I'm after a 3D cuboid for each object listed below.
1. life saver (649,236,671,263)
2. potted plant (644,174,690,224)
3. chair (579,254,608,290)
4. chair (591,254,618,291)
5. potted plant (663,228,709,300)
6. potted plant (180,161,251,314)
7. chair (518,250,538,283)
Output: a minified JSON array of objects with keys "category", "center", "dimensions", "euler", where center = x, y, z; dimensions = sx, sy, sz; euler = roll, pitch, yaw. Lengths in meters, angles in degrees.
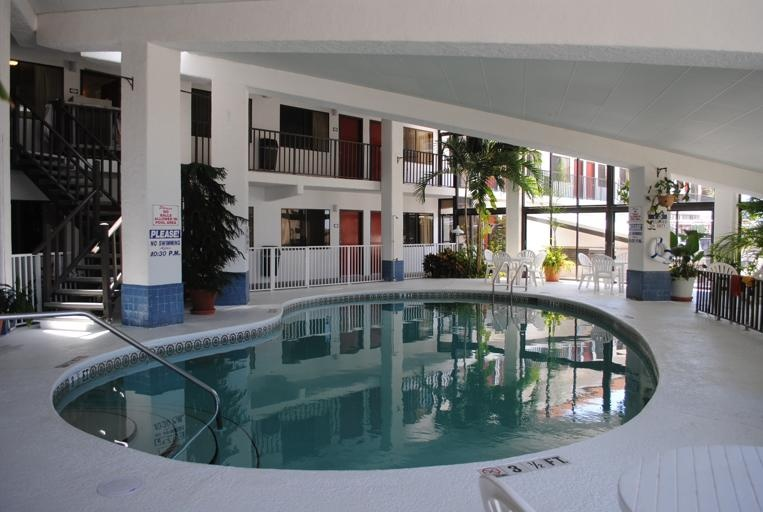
[{"category":"life saver","center":[6.332,-0.105,12.990],"dimensions":[0.505,0.598,0.167],"euler":[0,1,-15]},{"category":"potted plant","center":[6.428,-1.409,12.859],"dimensions":[0.695,0.805,0.684],"euler":[15,14,-3]},{"category":"chair","center":[5.551,0.442,14.882],"dimensions":[0.699,0.975,0.672],"euler":[2,0,-17]},{"category":"chair","center":[5.795,0.387,14.801],"dimensions":[0.594,1.060,0.749],"euler":[-2,19,14]},{"category":"potted plant","center":[7.106,0.253,13.427],"dimensions":[0.797,1.606,0.929],"euler":[0,-2,14]},{"category":"potted plant","center":[-3.288,-0.319,10.781],"dimensions":[0.939,2.827,0.453],"euler":[0,1,-20]},{"category":"chair","center":[4.186,0.212,16.243],"dimensions":[0.484,0.651,0.445],"euler":[-10,18,-44]}]
